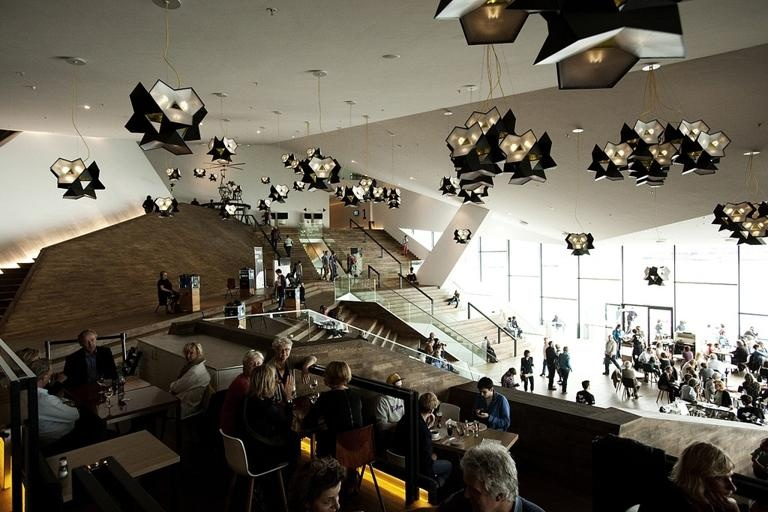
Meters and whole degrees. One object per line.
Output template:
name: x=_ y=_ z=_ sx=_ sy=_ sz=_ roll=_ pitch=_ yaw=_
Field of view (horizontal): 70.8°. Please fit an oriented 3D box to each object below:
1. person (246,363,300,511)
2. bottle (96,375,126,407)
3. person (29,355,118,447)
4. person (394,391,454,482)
person: x=-1.346 y=2.183 z=6.694 sx=0.620 sy=1.790 sz=0.725 roll=3 pitch=3 yaw=2
bottle: x=-3.747 y=1.836 z=7.403 sx=0.314 sy=0.110 sz=0.480 roll=-4 pitch=17 yaw=-21
person: x=-4.059 y=1.914 z=6.893 sx=0.695 sy=1.088 sz=1.039 roll=0 pitch=4 yaw=-38
person: x=0.547 y=2.447 z=6.836 sx=0.773 sy=1.321 sz=0.552 roll=14 pitch=-13 yaw=-35
